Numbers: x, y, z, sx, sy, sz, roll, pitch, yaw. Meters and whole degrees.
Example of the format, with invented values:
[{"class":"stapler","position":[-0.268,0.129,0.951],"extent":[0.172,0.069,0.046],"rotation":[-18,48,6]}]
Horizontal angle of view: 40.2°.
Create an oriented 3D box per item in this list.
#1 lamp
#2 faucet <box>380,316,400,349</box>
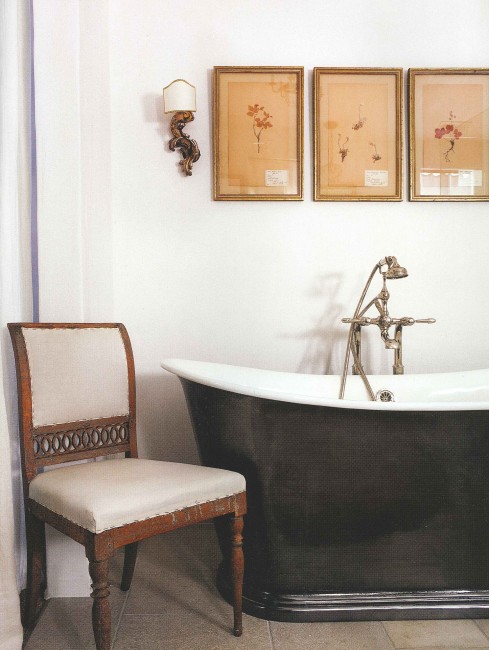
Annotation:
[{"class":"lamp","position":[-0.227,-0.693,2.380],"extent":[0.123,0.324,0.113],"rotation":[-3,11,-6]},{"class":"faucet","position":[0.506,0.039,2.334],"extent":[0.062,0.149,0.225],"rotation":[1,11,12]}]
